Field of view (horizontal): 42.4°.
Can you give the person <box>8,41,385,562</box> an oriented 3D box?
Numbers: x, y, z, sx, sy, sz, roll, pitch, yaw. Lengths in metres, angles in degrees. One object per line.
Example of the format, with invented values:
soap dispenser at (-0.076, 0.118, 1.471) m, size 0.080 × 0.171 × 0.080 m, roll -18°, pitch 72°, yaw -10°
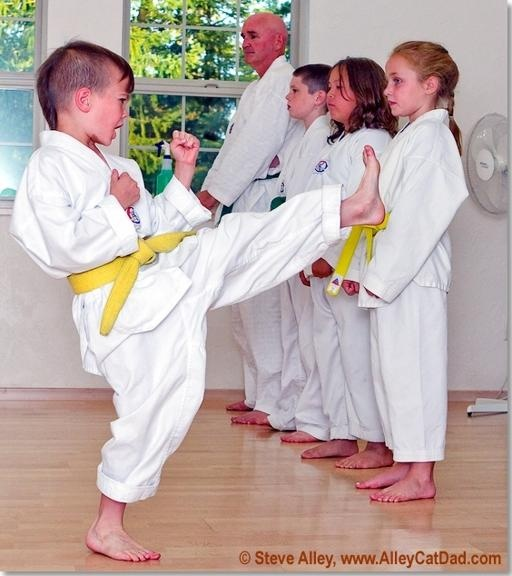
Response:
person at (-0.184, 0.024, 1.430) m, size 0.631 × 1.083 × 0.478 m, roll -5°, pitch 13°, yaw -31°
